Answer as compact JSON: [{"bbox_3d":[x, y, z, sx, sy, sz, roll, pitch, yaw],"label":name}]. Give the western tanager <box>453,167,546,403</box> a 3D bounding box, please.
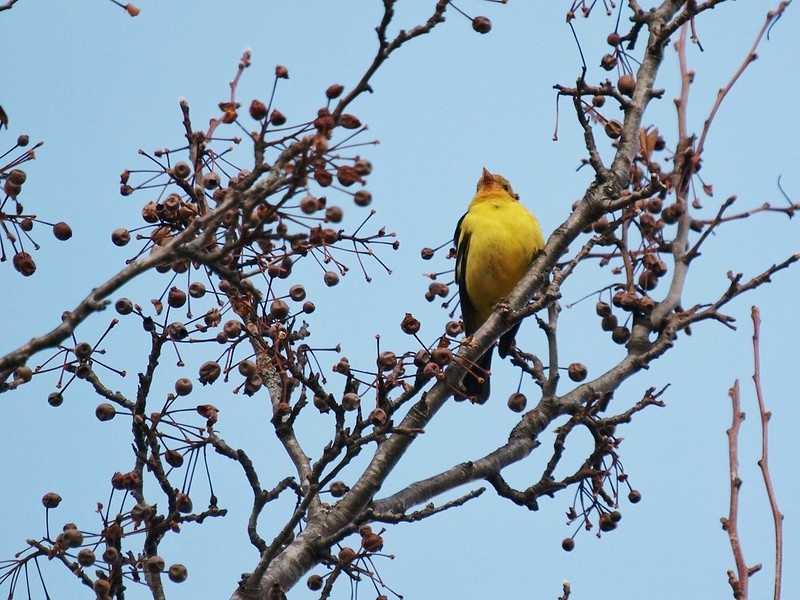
[{"bbox_3d":[0.656,-0.297,11.805,0.599,0.774,2.078,2,-80,-13],"label":"western tanager"}]
